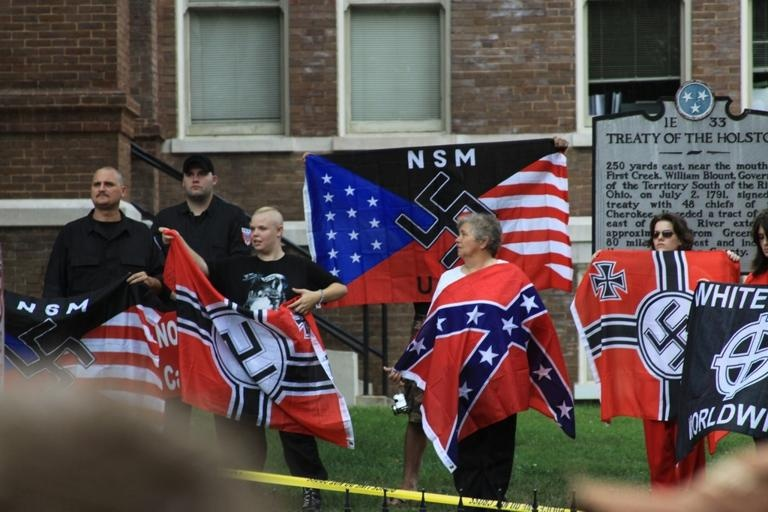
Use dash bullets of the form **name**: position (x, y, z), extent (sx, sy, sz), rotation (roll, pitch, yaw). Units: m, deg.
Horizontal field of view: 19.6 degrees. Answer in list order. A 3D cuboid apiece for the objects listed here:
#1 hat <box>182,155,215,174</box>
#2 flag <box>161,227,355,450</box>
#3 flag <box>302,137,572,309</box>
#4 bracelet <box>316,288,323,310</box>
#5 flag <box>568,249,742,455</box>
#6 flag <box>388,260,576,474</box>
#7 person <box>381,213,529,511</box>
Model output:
- **hat**: position (-2.139, -1.037, 25.480), extent (0.314, 0.208, 0.220), rotation (-3, 5, -19)
- **flag**: position (-1.496, 0.960, 24.895), extent (2.979, 2.848, 0.424), rotation (0, -2, -3)
- **flag**: position (0.621, -0.365, 27.020), extent (3.715, 1.874, 0.128), rotation (-3, -9, 36)
- **bracelet**: position (-0.716, 0.518, 25.040), extent (0.053, 0.175, 0.137), rotation (13, 12, 3)
- **flag**: position (3.173, 1.077, 25.031), extent (2.351, 1.979, 0.286), rotation (1, 1, 26)
- **flag**: position (1.101, 1.315, 25.296), extent (2.484, 2.319, 1.029), rotation (-3, -13, 5)
- **person**: position (1.027, 1.198, 24.777), extent (0.855, 3.267, 0.996), rotation (-3, 5, -16)
